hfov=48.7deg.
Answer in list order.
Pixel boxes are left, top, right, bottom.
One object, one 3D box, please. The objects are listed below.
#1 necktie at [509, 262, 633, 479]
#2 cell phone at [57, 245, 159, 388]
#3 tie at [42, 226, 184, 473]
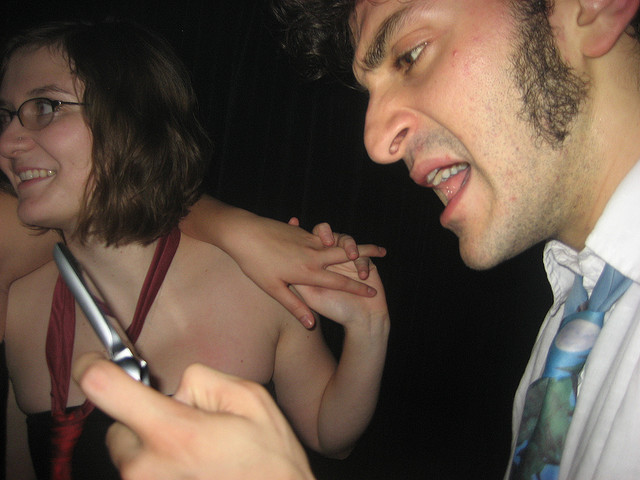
[{"bbox_3d":[0.644,0.350,1.826,0.234,0.570,0.190,9,15,28],"label":"necktie"},{"bbox_3d":[-0.591,0.214,1.931,0.064,0.378,0.128,-26,-8,-3],"label":"cell phone"},{"bbox_3d":[-0.572,0.309,1.909,0.073,0.671,0.177,12,-5,8],"label":"tie"}]
